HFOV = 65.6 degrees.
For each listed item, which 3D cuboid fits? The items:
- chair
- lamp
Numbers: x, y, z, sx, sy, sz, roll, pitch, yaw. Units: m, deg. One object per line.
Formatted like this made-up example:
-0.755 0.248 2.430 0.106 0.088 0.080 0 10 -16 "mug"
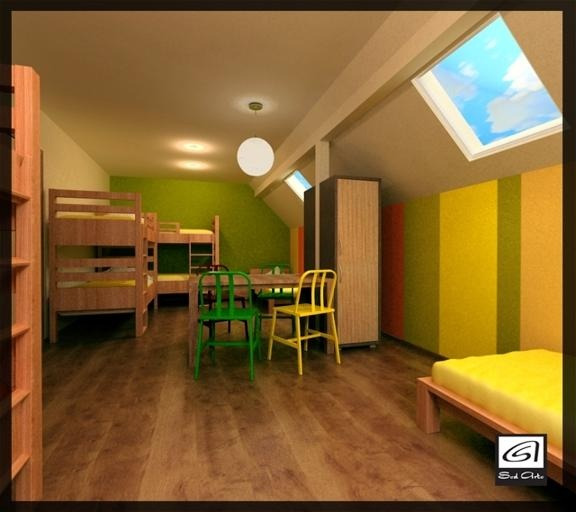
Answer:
-0.177 0.469 3.810 0.976 0.725 0.873 -2 3 -31 "chair"
-0.330 -1.170 4.528 0.408 0.836 0.415 7 -13 -37 "lamp"
